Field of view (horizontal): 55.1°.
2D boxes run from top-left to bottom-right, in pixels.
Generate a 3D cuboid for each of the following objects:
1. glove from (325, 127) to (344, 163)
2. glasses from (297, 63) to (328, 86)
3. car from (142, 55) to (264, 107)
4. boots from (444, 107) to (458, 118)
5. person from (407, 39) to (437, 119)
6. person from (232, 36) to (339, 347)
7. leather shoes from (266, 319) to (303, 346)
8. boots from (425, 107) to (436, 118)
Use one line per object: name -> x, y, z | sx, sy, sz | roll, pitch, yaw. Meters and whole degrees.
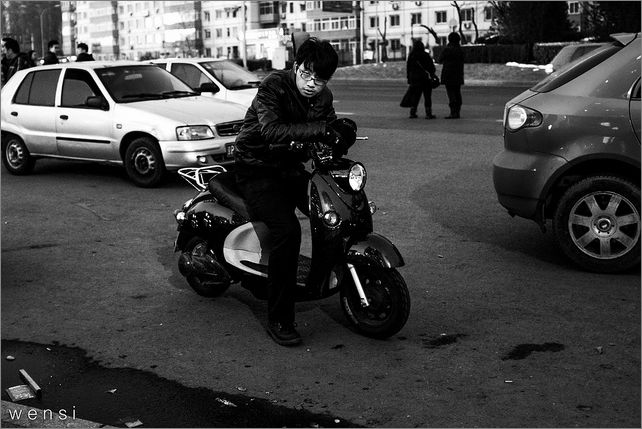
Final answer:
glove -> 0.100, -0.528, 4.540 | 0.126, 0.271, 0.235 | -1, 12, 5
glasses -> -0.045, -1.038, 4.554 | 0.244, 0.157, 0.119 | -9, 14, -31
car -> -2.805, -3.370, 15.106 | 3.132, 1.387, 1.874 | 7, 17, 27
boots -> 3.835, -3.036, 18.332 | 0.468, 0.331, 0.196 | 17, 25, 42
person -> 3.021, -4.088, 18.508 | 0.881, 2.313, 0.924 | 0, 12, 7
person -> -0.265, -0.146, 4.794 | 0.809, 2.373, 0.639 | -2, 12, -5
leather shoes -> -0.312, 0.952, 4.928 | 0.132, 0.149, 0.312 | -7, 12, -44
boots -> 3.269, -3.074, 18.465 | 0.286, 0.342, 0.432 | 0, 12, 8
